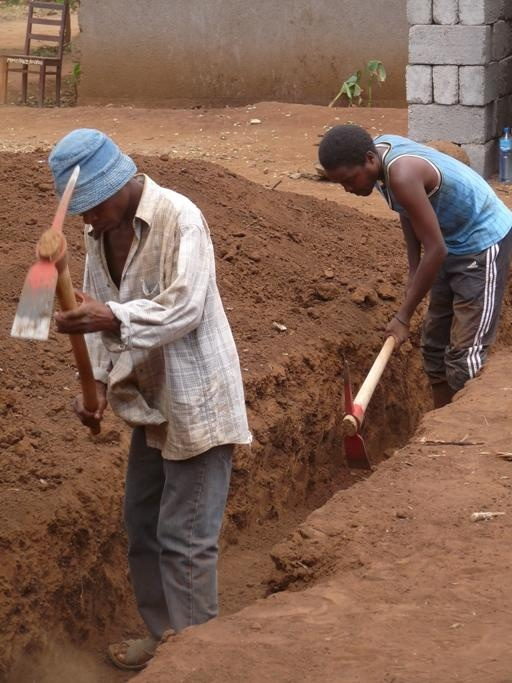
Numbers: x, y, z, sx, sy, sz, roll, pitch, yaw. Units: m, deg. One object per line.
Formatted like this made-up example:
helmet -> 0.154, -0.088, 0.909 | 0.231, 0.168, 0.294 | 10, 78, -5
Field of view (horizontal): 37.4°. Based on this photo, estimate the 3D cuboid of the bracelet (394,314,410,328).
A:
bracelet -> 0.694, -0.100, 3.609 | 0.072, 0.065, 0.137 | 1, 5, 8

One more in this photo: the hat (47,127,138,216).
hat -> -0.429, -0.487, 2.060 | 0.293, 0.159, 0.239 | -28, 28, 0

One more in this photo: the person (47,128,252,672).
person -> -0.344, 0.303, 2.277 | 0.591, 1.802, 0.672 | 2, 7, 12
